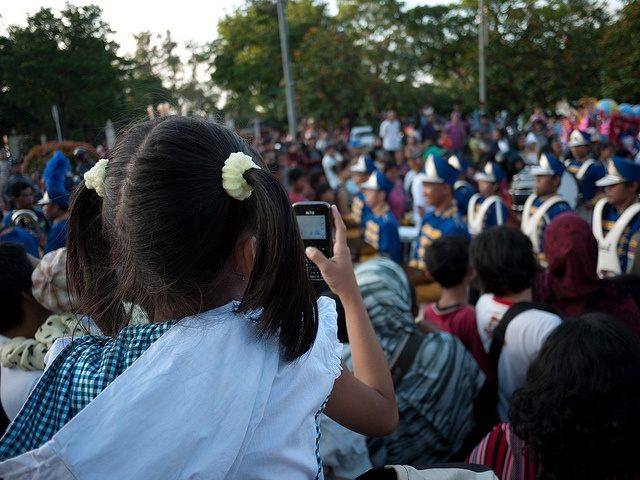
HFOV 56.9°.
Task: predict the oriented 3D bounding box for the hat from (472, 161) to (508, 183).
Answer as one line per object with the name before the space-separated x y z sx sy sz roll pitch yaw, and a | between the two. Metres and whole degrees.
hat | 2.082 -0.747 7.085 0.345 0.231 0.235 10 18 -37

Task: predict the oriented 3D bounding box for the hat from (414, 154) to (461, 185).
hat | 1.187 -0.682 5.897 0.359 0.211 0.282 23 5 -19

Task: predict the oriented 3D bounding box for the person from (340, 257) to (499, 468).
person | 0.433 0.540 2.483 0.684 0.798 0.436 -5 16 27

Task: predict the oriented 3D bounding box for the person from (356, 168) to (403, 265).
person | 0.639 -0.240 6.486 0.402 0.514 1.209 -5 46 -1

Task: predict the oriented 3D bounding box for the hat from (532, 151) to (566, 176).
hat | 2.367 -0.727 6.027 0.354 0.211 0.269 17 1 1
